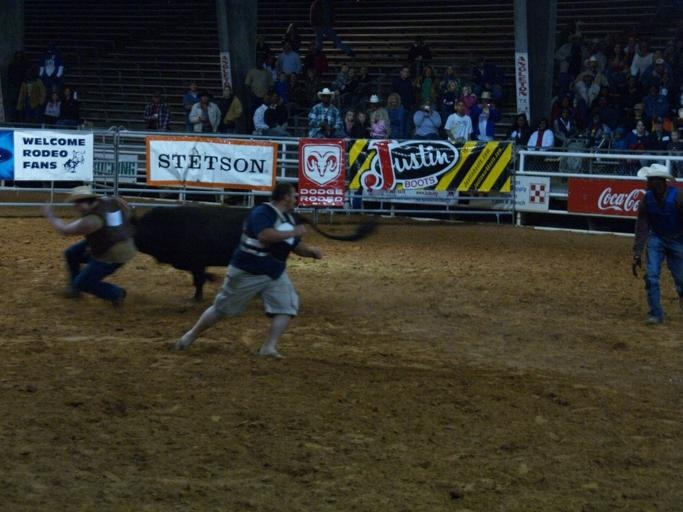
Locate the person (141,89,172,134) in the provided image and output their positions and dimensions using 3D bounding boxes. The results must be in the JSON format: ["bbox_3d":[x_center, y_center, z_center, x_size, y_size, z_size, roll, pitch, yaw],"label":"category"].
[{"bbox_3d":[-5.178,-4.070,22.843,0.538,1.021,1.067,-1,11,-22],"label":"person"}]

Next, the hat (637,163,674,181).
[{"bbox_3d":[4.308,-1.156,11.063,0.404,0.188,0.409,5,10,9],"label":"hat"}]

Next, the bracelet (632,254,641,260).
[{"bbox_3d":[4.126,0.006,11.268,0.139,0.089,0.133,0,-1,-11],"label":"bracelet"}]

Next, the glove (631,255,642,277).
[{"bbox_3d":[4.557,0.150,12.456,0.142,0.222,0.371,17,43,12],"label":"glove"}]

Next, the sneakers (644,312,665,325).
[{"bbox_3d":[4.388,0.844,11.216,0.344,0.117,0.182,0,10,-16],"label":"sneakers"}]

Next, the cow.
[{"bbox_3d":[-1.366,-0.087,11.115,3.890,1.354,0.753,-2,3,31],"label":"cow"}]
